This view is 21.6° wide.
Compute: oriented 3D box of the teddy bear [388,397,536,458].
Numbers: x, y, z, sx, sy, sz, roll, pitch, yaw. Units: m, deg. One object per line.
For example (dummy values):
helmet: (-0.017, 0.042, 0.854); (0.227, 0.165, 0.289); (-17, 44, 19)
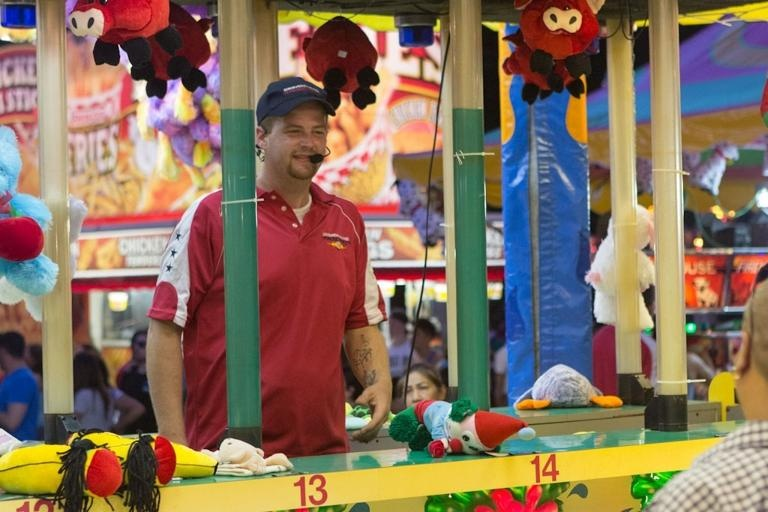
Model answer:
teddy bear: (0.399, 0.986, 11.608); (0.555, 0.193, 0.408); (2, 2, 34)

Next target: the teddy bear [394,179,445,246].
teddy bear: (0.271, -0.320, 15.439); (0.378, 0.532, 0.260); (1, 23, 45)

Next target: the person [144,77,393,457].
person: (-0.688, 0.075, 11.942); (1.447, 2.230, 0.664); (0, -9, -3)

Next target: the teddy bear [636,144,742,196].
teddy bear: (2.419, -0.672, 15.847); (0.835, 0.408, 0.163); (2, -9, -17)
